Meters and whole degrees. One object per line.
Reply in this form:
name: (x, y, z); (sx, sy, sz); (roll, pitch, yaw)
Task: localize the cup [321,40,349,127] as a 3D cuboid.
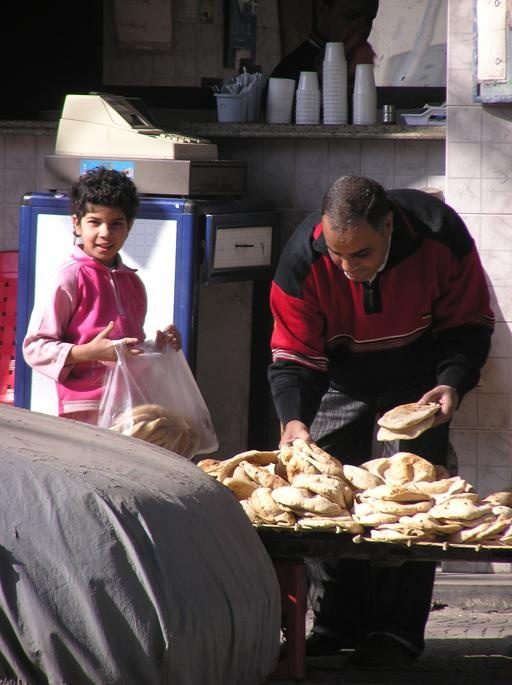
cup: (0.312, -1.036, 4.266); (0.094, 0.309, 0.069); (1, 8, 0)

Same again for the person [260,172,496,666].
person: (0.362, 0.206, 3.328); (1.138, 1.260, 0.768); (1, 5, 7)

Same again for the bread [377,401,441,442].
bread: (0.388, 0.208, 2.745); (0.149, 0.096, 0.228); (1, 6, 9)

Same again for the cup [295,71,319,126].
cup: (0.213, -0.986, 4.304); (0.114, 0.200, 0.077); (-2, 8, -20)

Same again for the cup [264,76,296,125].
cup: (0.094, -0.991, 4.367); (0.108, 0.181, 0.079); (0, 8, -2)

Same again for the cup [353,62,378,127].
cup: (0.427, -0.991, 4.266); (0.088, 0.230, 0.078); (1, 8, 3)

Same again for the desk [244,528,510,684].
desk: (0.298, 0.595, 2.461); (0.545, 0.416, 0.311); (2, 7, 10)
